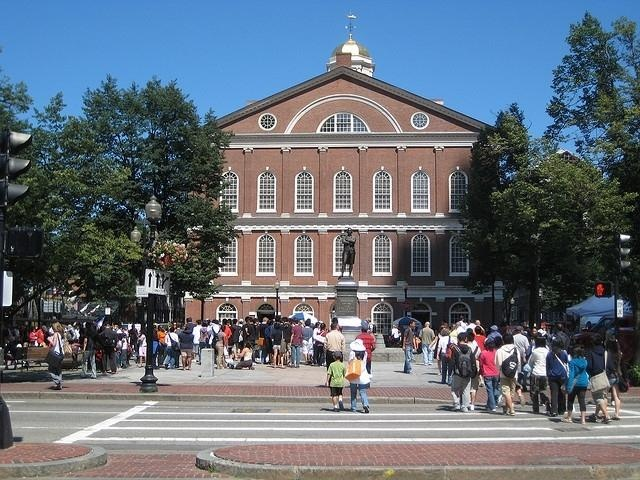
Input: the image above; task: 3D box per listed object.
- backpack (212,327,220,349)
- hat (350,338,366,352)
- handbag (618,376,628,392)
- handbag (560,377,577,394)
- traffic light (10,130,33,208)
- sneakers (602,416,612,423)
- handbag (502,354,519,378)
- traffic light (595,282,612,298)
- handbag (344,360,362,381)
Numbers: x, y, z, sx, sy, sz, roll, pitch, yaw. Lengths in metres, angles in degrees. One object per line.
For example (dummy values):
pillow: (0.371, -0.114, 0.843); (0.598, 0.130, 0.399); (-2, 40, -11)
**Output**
backpack: (-4.481, 4.260, 40.486); (0.408, 0.765, 0.538); (4, 4, 35)
hat: (1.133, 3.193, 28.089); (0.393, 0.413, 0.746); (0, -10, 0)
handbag: (8.743, 4.195, 27.057); (0.216, 0.378, 0.310); (-2, -10, 16)
handbag: (7.030, 4.143, 26.384); (0.184, 0.373, 0.562); (1, -9, -3)
traffic light: (-6.927, -1.725, 21.543); (0.496, 1.720, 0.788); (3, -9, -19)
sneakers: (7.923, 5.038, 25.948); (0.218, 0.170, 0.473); (-3, -10, 18)
handbag: (5.467, 3.646, 27.003); (0.419, 0.593, 0.318); (26, 2, -19)
traffic light: (9.829, 1.724, 32.506); (0.552, 0.475, 0.684); (-3, -10, 17)
handbag: (0.975, 3.732, 26.684); (0.448, 0.602, 0.316); (0, -9, -1)
